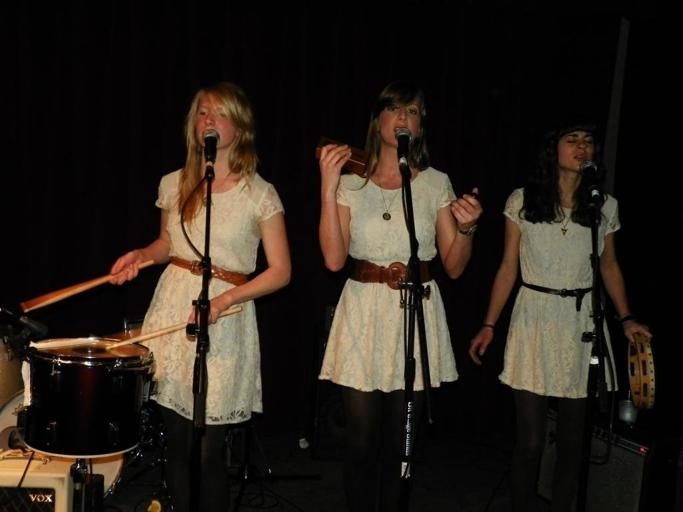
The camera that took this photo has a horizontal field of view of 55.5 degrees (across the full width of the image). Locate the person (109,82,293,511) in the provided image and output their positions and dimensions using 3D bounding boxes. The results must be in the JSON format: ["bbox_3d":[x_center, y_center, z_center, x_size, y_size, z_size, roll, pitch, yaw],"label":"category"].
[{"bbox_3d":[-0.695,0.190,3.414,0.740,2.176,0.583,1,2,41],"label":"person"}]

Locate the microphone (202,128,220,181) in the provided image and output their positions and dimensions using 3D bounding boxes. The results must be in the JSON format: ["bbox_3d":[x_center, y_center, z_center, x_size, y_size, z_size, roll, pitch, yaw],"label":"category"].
[{"bbox_3d":[-0.618,-0.485,3.088,0.070,0.274,0.255,-1,1,-12],"label":"microphone"}]

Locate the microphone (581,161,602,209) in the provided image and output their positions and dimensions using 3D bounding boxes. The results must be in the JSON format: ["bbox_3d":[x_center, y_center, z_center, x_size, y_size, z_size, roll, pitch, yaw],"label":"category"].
[{"bbox_3d":[1.347,-0.382,3.479,0.102,0.255,0.259,0,1,21],"label":"microphone"}]

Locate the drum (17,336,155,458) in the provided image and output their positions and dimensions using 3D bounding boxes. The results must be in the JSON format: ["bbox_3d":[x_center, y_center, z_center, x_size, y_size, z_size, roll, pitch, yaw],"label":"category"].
[{"bbox_3d":[-1.332,0.666,3.461,0.643,0.587,0.675,9,14,-12],"label":"drum"}]

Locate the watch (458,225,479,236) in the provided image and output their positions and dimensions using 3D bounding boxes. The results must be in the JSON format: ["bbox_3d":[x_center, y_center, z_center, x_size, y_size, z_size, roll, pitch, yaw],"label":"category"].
[{"bbox_3d":[0.622,-0.130,3.234,0.059,0.042,0.063,6,7,32],"label":"watch"}]

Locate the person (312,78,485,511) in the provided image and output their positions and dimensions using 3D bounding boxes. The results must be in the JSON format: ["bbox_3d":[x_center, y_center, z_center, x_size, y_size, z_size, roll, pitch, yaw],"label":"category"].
[{"bbox_3d":[0.275,0.241,3.330,0.774,2.249,0.516,0,1,-3],"label":"person"}]

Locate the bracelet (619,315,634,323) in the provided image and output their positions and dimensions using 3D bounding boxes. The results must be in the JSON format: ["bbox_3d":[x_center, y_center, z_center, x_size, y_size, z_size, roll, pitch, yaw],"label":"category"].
[{"bbox_3d":[1.693,0.371,3.846,0.077,0.045,0.061,0,0,22],"label":"bracelet"}]

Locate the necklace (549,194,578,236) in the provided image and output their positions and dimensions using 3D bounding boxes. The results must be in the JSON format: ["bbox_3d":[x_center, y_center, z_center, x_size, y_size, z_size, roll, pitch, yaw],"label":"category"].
[{"bbox_3d":[1.333,-0.237,3.827,0.111,0.175,0.050,13,-12,-18],"label":"necklace"}]

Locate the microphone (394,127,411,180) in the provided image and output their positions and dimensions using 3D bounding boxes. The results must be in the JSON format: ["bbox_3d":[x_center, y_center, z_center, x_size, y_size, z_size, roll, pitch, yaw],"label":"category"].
[{"bbox_3d":[0.288,-0.474,2.999,0.065,0.253,0.248,0,1,5],"label":"microphone"}]
